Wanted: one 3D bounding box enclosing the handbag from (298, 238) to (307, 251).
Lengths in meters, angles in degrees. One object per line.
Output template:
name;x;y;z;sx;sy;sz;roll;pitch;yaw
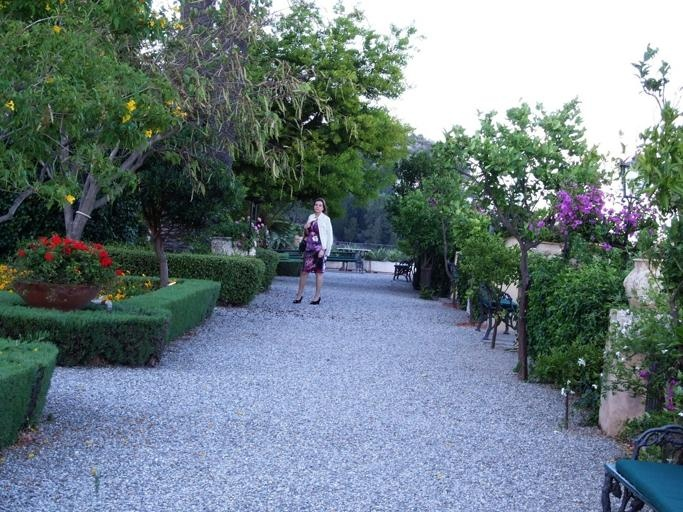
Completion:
handbag;-0.911;-0.238;13.844;0.205;0.473;0.298;3;2;0

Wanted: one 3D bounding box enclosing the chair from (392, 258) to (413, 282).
chair;2.850;0.635;26.559;0.887;1.476;0.974;-1;-9;24

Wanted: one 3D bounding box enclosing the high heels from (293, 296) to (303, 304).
high heels;-1.051;1.105;14.083;0.091;0.166;0.305;-3;-12;14

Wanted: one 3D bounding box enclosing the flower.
flower;-3.626;0.085;7.562;0.820;0.595;0.817;7;2;32

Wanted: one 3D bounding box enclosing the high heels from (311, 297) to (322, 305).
high heels;-0.600;1.109;13.861;0.277;0.171;0.104;2;0;-5
